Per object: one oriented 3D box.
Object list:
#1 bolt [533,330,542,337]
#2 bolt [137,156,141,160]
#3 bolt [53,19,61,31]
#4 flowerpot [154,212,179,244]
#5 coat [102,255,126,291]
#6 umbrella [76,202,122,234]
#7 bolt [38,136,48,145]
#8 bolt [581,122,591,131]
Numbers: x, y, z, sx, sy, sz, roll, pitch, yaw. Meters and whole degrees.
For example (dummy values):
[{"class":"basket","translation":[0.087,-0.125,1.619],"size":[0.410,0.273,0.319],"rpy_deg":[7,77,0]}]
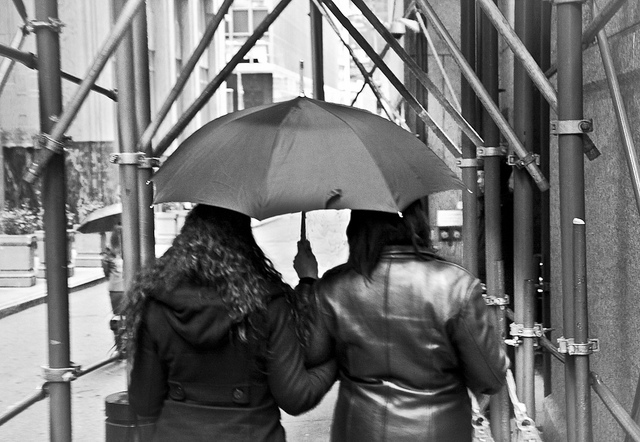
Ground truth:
[{"class":"bolt","translation":[1.872,0.967,9.520],"size":[0.042,0.051,0.099],"rpy_deg":[-6,-1,41]},{"class":"bolt","translation":[-1.510,-0.528,9.224],"size":[0.028,0.023,0.008],"rpy_deg":[-5,-1,-31]},{"class":"bolt","translation":[-1.948,-1.448,8.174],"size":[0.081,0.082,0.020],"rpy_deg":[2,13,-11]},{"class":"flowerpot","translation":[-4.244,0.216,29.474],"size":[0.594,0.692,0.746],"rpy_deg":[-1,3,33]},{"class":"coat","translation":[-2.651,0.663,14.170],"size":[0.230,0.408,0.626],"rpy_deg":[-5,-1,-14]},{"class":"umbrella","translation":[-2.714,-0.035,13.600],"size":[0.572,0.314,0.698],"rpy_deg":[-5,-1,-5]},{"class":"bolt","translation":[-2.042,-0.593,8.149],"size":[0.055,0.059,0.057],"rpy_deg":[-1,-2,-2]},{"class":"bolt","translation":[1.911,-0.682,7.979],"size":[0.060,0.056,0.017],"rpy_deg":[-2,-4,4]}]
